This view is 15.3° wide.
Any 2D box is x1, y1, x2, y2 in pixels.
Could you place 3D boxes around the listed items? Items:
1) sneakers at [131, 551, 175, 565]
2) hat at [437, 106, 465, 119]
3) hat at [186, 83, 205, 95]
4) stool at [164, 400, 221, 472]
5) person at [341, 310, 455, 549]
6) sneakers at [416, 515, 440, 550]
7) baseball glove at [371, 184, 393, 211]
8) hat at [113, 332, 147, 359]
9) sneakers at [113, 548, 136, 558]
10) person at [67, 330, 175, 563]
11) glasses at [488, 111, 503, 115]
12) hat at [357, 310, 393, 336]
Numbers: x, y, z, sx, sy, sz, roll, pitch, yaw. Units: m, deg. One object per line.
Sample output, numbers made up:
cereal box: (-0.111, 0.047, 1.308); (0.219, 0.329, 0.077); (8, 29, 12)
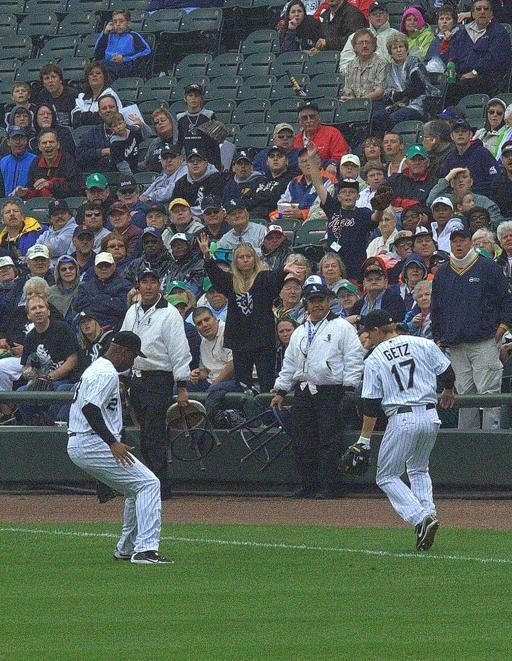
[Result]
sneakers: (-0.758, 1.720, 14.280); (0.327, 0.157, 0.113); (0, -2, 1)
hat: (2.212, -2.431, 21.322); (0.246, 0.150, 0.176); (0, 10, 7)
hat: (-0.697, -2.878, 22.776); (0.147, 0.119, 0.285); (3, 7, 37)
stool: (-0.648, 1.000, 18.019); (0.487, 0.616, 0.500); (10, 11, 23)
person: (1.201, 0.761, 14.900); (0.674, 1.780, 1.313); (-2, 6, -14)
sneakers: (1.311, 1.556, 14.417); (0.158, 0.288, 0.194); (-1, 5, 3)
baseball glove: (1.308, -1.345, 19.481); (0.220, 0.250, 0.460); (-1, 5, 4)
hat: (-0.937, 0.105, 14.519); (0.233, 0.145, 0.164); (27, 5, -17)
sneakers: (-0.989, 1.703, 14.417); (0.161, 0.081, 0.055); (0, 17, -1)
person: (-1.025, 0.892, 14.394); (0.786, 1.726, 0.588); (-1, 5, 0)
glasses: (2.637, -2.370, 20.686); (0.128, 0.070, 0.074); (-1, 5, 1)
hat: (0.969, -0.058, 15.177); (0.217, 0.136, 0.156); (3, 25, 35)
